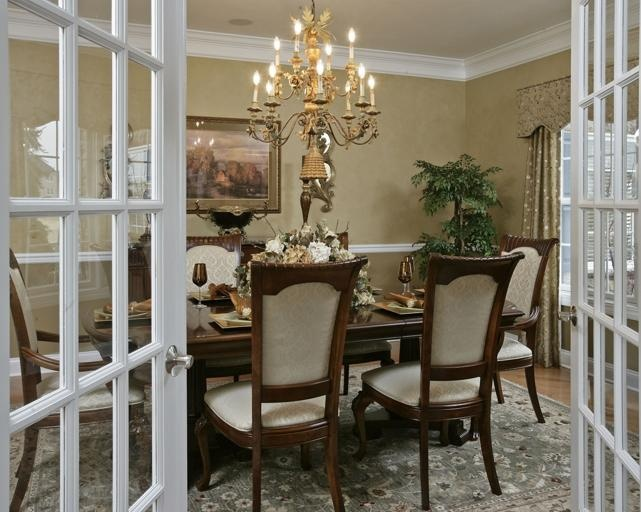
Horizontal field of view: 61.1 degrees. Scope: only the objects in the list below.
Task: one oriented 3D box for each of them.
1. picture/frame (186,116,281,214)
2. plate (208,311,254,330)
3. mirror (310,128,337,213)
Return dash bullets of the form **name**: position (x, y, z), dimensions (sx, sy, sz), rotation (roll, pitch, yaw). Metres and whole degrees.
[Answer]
- **picture/frame**: position (-0.866, -0.877, 5.160), dimensions (1.173, 1.041, 0.088), rotation (0, 4, -16)
- **plate**: position (-0.404, 0.289, 2.533), dimensions (0.125, 0.019, 0.125), rotation (-3, 12, -28)
- **mirror**: position (0.043, -0.921, 5.630), dimensions (0.317, 1.003, 0.047), rotation (-3, -27, 14)
